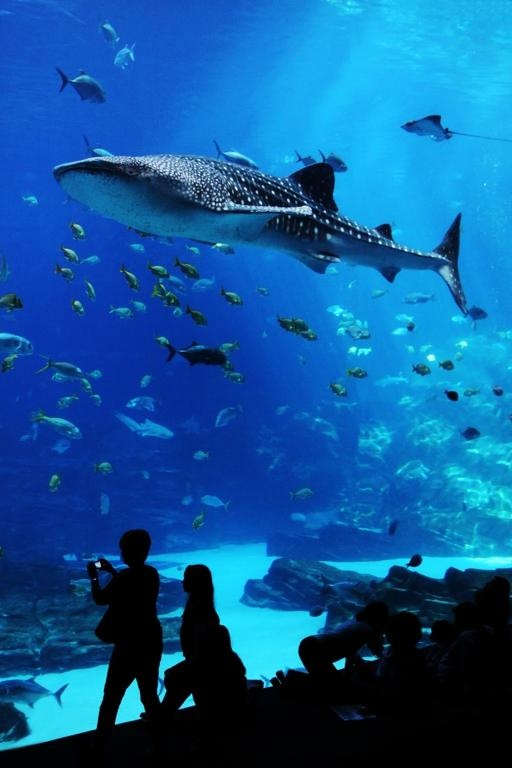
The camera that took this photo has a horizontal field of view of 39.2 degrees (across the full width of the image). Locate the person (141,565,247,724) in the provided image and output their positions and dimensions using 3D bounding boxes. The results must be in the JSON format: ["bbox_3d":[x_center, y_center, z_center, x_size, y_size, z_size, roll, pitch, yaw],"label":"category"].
[{"bbox_3d":[-0.757,3.535,9.874,1.128,2.054,0.550,-4,-11,5],"label":"person"}]

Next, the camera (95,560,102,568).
[{"bbox_3d":[-2.194,2.502,9.933,0.090,0.139,0.089,3,-6,-41],"label":"camera"}]
